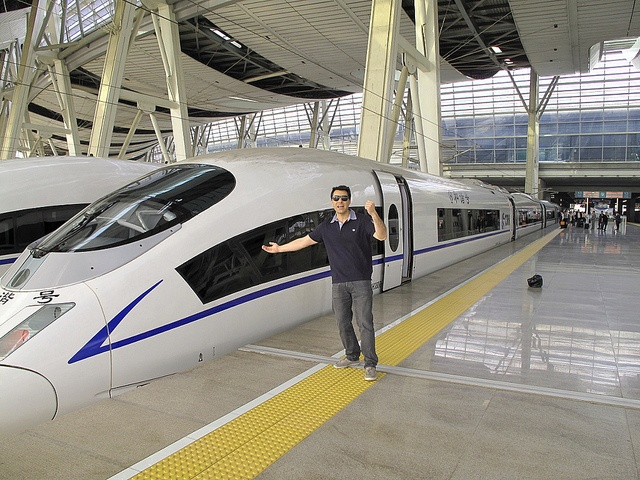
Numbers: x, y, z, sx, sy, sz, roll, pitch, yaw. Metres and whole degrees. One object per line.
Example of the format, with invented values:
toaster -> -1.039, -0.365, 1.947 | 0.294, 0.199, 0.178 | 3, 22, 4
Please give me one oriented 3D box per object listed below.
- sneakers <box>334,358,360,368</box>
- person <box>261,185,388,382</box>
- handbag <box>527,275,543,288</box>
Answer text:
sneakers -> 0.271, 1.261, 3.787 | 0.284, 0.097, 0.091 | 2, -4, -3
person -> 0.210, 0.407, 3.585 | 0.856, 1.815, 0.361 | 8, 9, 30
handbag -> 4.662, 0.930, 8.102 | 0.354, 0.251, 0.245 | 0, 3, 5
